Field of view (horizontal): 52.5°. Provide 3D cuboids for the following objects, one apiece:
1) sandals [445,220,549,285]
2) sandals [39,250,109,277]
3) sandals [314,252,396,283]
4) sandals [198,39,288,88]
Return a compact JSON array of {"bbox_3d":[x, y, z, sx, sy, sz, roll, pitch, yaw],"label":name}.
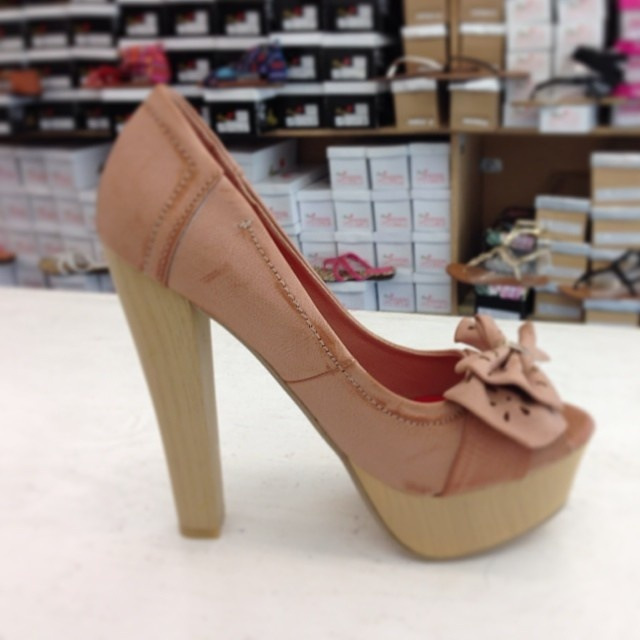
[{"bbox_3d":[0.446,-0.158,1.630,0.344,0.120,0.103,2,11,-28],"label":"sandals"},{"bbox_3d":[-0.684,-0.150,1.777,0.260,0.052,0.076,-1,29,3],"label":"sandals"},{"bbox_3d":[0.087,-0.140,1.713,0.217,0.052,0.084,2,16,5],"label":"sandals"},{"bbox_3d":[-0.183,-0.651,1.651,0.247,0.085,0.072,8,33,23],"label":"sandals"}]
